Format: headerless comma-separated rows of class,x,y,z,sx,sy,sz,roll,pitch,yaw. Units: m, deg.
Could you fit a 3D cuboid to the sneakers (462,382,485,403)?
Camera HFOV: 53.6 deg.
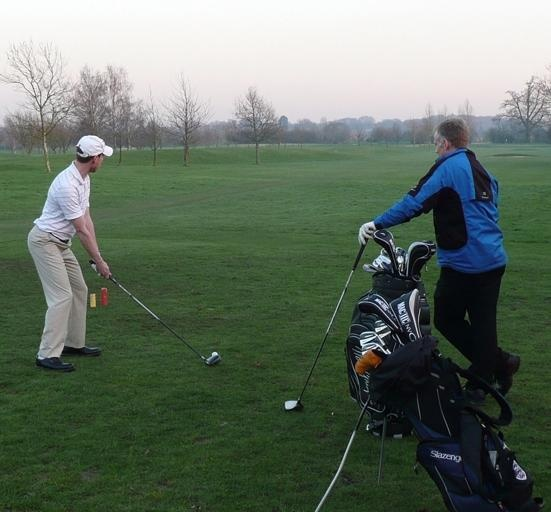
sneakers,1.104,0.741,2.960,0.170,0.099,0.075,4,2,5

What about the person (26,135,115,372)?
person,-2.128,-0.030,5.650,0.802,2.353,0.636,-5,12,-21

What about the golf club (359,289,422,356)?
golf club,0.761,0.358,3.551,0.388,0.170,0.247,24,49,18

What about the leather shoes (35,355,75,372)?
leather shoes,-2.258,1.092,5.602,0.344,0.132,0.157,1,0,5

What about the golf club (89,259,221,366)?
golf club,-1.645,0.784,7.390,1.461,0.112,0.224,40,25,5

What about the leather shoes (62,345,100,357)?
leather shoes,-2.124,1.033,6.036,0.391,0.158,0.142,0,0,1

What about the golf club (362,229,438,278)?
golf club,0.892,-0.029,4.005,0.585,0.331,0.265,17,12,41

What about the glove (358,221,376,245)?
glove,0.759,-0.165,4.333,0.060,0.181,0.140,21,4,-22
